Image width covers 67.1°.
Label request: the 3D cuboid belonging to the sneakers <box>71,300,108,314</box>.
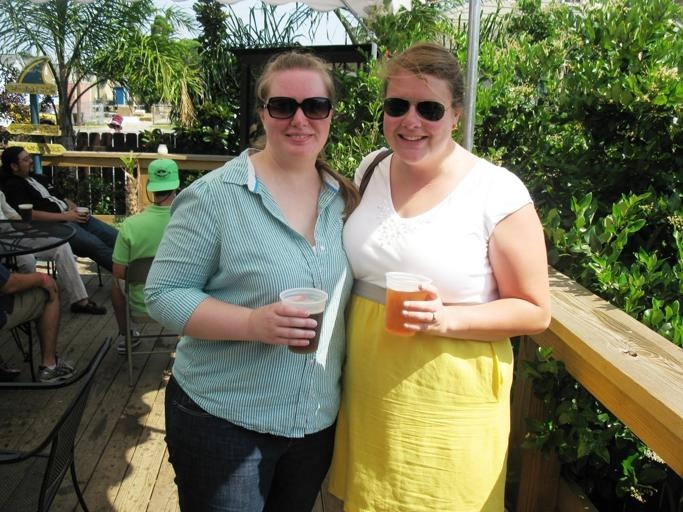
[{"bbox_3d":[-2.764,0.540,5.690,0.400,0.168,0.149,1,12,-9],"label":"sneakers"}]

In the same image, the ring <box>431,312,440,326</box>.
[{"bbox_3d":[0.340,0.227,1.888,0.034,0.035,0.030,-8,11,-29],"label":"ring"}]

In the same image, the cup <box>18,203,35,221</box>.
[{"bbox_3d":[-3.044,-0.424,4.994,0.175,0.202,0.179,2,5,0],"label":"cup"}]

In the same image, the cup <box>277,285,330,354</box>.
[{"bbox_3d":[-0.121,0.214,1.867,0.209,0.229,0.214,0,4,0],"label":"cup"}]

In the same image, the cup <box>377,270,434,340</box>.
[{"bbox_3d":[0.226,0.175,2.027,0.208,0.228,0.213,11,5,-1],"label":"cup"}]

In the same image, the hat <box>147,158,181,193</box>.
[{"bbox_3d":[-1.596,-0.715,4.624,0.231,0.188,0.337,0,13,-8],"label":"hat"}]
